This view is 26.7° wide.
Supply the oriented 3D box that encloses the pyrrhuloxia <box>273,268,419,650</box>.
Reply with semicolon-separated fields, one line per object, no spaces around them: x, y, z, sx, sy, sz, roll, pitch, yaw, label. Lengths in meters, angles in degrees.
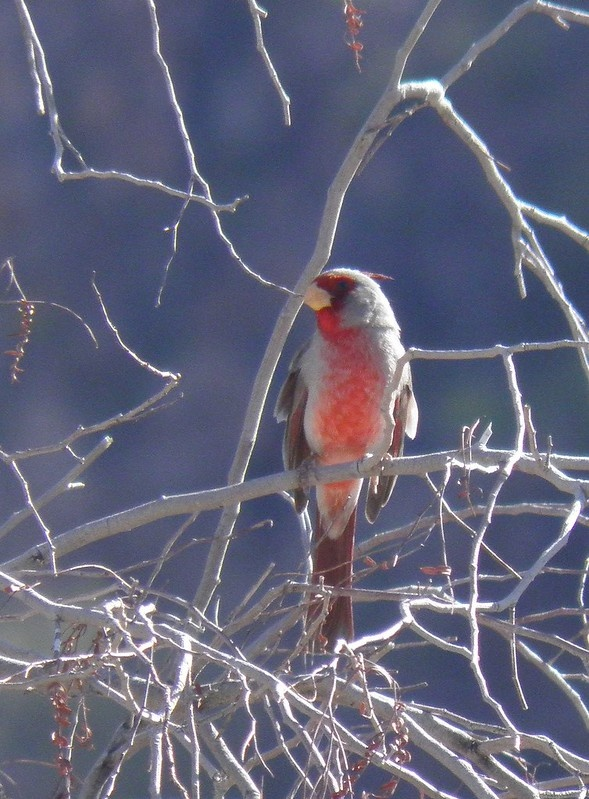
0.138;0.228;4.168;0.434;0.615;1.284;1;-78;2;pyrrhuloxia
